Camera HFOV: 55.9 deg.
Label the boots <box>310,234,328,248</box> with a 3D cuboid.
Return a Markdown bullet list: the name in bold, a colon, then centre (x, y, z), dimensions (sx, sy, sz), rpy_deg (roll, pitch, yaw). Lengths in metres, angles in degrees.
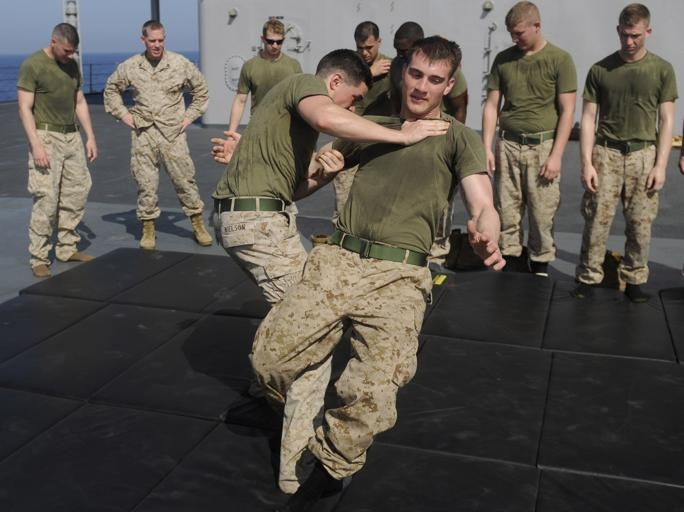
- **boots**: centre (-0.218, -0.167, 6.255), dimensions (0.148, 0.128, 0.192), rpy_deg (2, 4, 27)

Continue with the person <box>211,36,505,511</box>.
- **person**: centre (0.138, 0.049, 3.035), dimensions (1.087, 2.144, 0.830), rpy_deg (-3, 16, -17)

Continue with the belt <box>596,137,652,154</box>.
- **belt**: centre (2.303, -0.907, 5.237), dimensions (0.419, 0.121, 0.113), rpy_deg (7, 16, 18)

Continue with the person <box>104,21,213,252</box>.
- **person**: centre (-1.901, -1.274, 6.744), dimensions (1.036, 2.299, 0.762), rpy_deg (-3, 16, -18)

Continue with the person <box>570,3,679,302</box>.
- **person**: centre (2.262, -0.833, 5.192), dimensions (0.689, 2.278, 0.498), rpy_deg (7, 16, 18)

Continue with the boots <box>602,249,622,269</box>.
- **boots**: centre (2.328, 0.018, 5.547), dimensions (0.116, 0.152, 0.048), rpy_deg (5, -7, 33)

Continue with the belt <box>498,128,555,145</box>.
- **belt**: centre (1.684, -1.111, 5.855), dimensions (0.483, 0.148, 0.175), rpy_deg (6, 16, 16)
